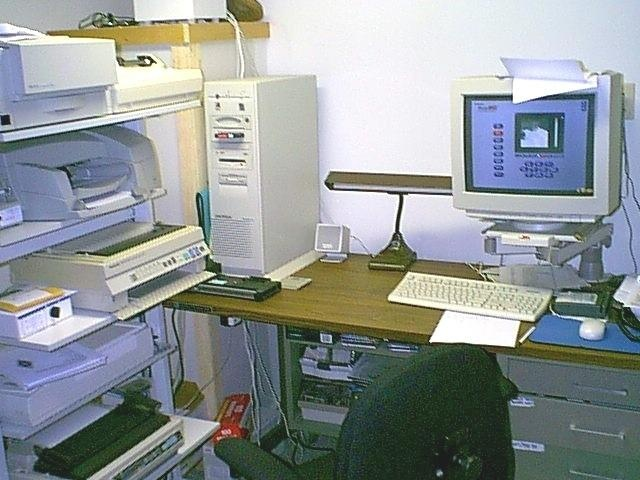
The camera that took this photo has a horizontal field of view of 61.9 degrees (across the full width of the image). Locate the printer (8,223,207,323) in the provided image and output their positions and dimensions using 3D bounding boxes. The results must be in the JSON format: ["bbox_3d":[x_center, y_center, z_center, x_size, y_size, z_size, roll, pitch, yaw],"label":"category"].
[{"bbox_3d":[-0.736,0.094,1.943,0.430,0.204,0.581,10,22,30],"label":"printer"}]

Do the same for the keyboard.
[{"bbox_3d":[0.556,0.208,1.989,0.572,0.048,0.254,6,21,20],"label":"keyboard"}]

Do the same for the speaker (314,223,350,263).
[{"bbox_3d":[0.060,0.017,2.469,0.153,0.223,0.171,1,1,22],"label":"speaker"}]

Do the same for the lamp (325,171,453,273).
[{"bbox_3d":[0.341,-0.086,2.488,0.424,0.320,0.145,2,12,14],"label":"lamp"}]
